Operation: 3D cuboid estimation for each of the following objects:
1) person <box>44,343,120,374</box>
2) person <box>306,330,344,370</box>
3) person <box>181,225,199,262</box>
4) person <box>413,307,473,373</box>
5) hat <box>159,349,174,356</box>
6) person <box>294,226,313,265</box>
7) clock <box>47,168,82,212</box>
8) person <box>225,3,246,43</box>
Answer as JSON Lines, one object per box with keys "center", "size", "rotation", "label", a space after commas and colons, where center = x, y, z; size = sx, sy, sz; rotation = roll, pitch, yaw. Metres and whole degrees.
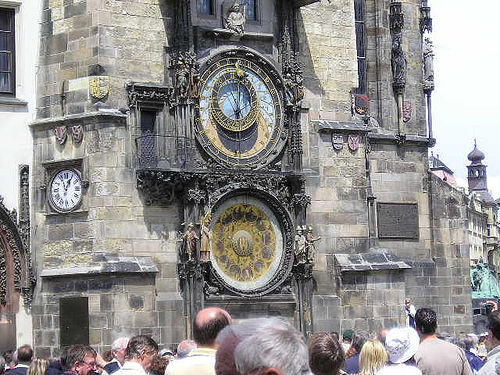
{"center": [-3.607, 3.652, 29.731], "size": [1.139, 0.352, 0.851], "rotation": [-1, -4, 31], "label": "person"}
{"center": [1.289, 2.930, 25.728], "size": [0.587, 0.655, 0.709], "rotation": [-2, -7, -6], "label": "person"}
{"center": [-1.712, 1.633, 41.923], "size": [0.461, 1.078, 0.392], "rotation": [-5, -15, 4], "label": "person"}
{"center": [3.756, 3.064, 28.536], "size": [1.010, 1.329, 0.543], "rotation": [-5, -15, 5], "label": "person"}
{"center": [-1.979, 3.885, 33.585], "size": [0.427, 0.169, 0.440], "rotation": [2, -2, -18], "label": "hat"}
{"center": [1.565, 1.746, 43.330], "size": [0.440, 1.105, 0.324], "rotation": [11, -21, -43], "label": "person"}
{"center": [-5.367, 0.074, 41.938], "size": [1.509, 1.298, 0.149], "rotation": [1, -2, 20], "label": "clock"}
{"center": [-0.443, -5.036, 43.240], "size": [0.502, 1.081, 0.593], "rotation": [-10, -17, 24], "label": "person"}
